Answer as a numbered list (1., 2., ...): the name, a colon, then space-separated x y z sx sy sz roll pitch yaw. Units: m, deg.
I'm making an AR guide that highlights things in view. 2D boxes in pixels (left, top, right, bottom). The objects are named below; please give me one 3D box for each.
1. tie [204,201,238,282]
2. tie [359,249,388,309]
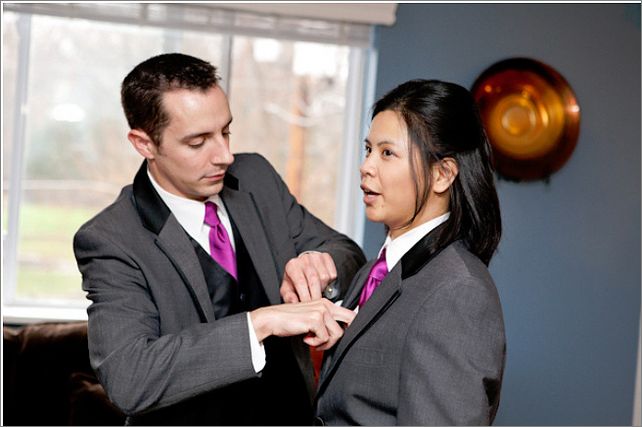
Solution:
1. tie: -0.478 0.091 2.655 0.088 0.492 0.054 -9 -26 -24
2. tie: 0.213 0.277 2.369 0.042 0.237 0.061 20 2 -5
